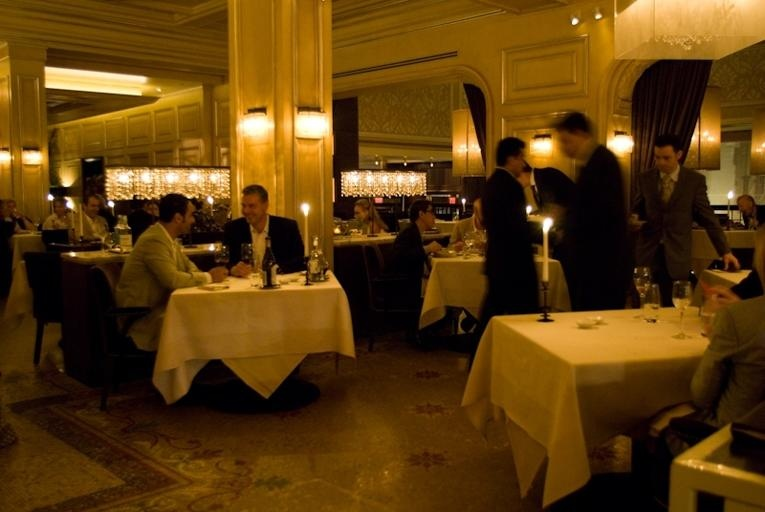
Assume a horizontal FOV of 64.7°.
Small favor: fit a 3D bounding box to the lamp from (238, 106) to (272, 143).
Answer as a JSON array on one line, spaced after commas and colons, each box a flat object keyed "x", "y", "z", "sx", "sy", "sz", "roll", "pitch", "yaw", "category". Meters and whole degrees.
[{"x": -1.333, "y": -1.435, "z": 6.518, "sx": 0.375, "sy": 0.340, "sz": 0.079, "roll": 5, "pitch": 11, "yaw": 28, "category": "lamp"}]

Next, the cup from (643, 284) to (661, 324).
[{"x": 1.641, "y": 0.271, "z": 3.660, "sx": 0.092, "sy": 0.206, "sz": 0.087, "roll": -3, "pitch": -2, "yaw": 0, "category": "cup"}]

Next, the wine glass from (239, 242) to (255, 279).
[{"x": -1.109, "y": 0.016, "z": 5.006, "sx": 0.091, "sy": 0.287, "sz": 0.450, "roll": -3, "pitch": 10, "yaw": -13, "category": "wine glass"}]

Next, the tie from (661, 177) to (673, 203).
[{"x": 2.584, "y": -0.616, "z": 5.474, "sx": 0.047, "sy": 0.189, "sz": 0.130, "roll": 1, "pitch": 3, "yaw": -42, "category": "tie"}]

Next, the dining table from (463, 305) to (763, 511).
[{"x": 1.076, "y": 0.707, "z": 3.504, "sx": 1.300, "sy": 0.710, "sz": 1.150, "roll": -5, "pitch": 14, "yaw": -7, "category": "dining table"}]

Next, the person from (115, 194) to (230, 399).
[{"x": -1.719, "y": 0.213, "z": 4.818, "sx": 0.744, "sy": 1.382, "sz": 0.753, "roll": -5, "pitch": 11, "yaw": -27, "category": "person"}]

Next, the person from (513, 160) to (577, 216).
[{"x": 1.287, "y": -0.499, "z": 5.238, "sx": 0.598, "sy": 0.319, "sz": 0.867, "roll": 1, "pitch": -14, "yaw": 24, "category": "person"}]

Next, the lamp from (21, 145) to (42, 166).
[{"x": -6.600, "y": -1.927, "z": 11.481, "sx": 0.319, "sy": 0.328, "sz": 0.330, "roll": 1, "pitch": 5, "yaw": -12, "category": "lamp"}]

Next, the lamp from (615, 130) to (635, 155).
[{"x": 3.356, "y": -1.582, "z": 8.358, "sx": 0.226, "sy": 0.347, "sz": 0.101, "roll": -1, "pitch": 7, "yaw": -18, "category": "lamp"}]

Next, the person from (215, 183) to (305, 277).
[{"x": -1.073, "y": -0.048, "z": 5.444, "sx": 0.788, "sy": 1.151, "sz": 0.624, "roll": -4, "pitch": 6, "yaw": -5, "category": "person"}]

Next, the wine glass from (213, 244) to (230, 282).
[{"x": -1.288, "y": 0.052, "z": 4.897, "sx": 0.130, "sy": 0.336, "sz": 0.120, "roll": -7, "pitch": 24, "yaw": -31, "category": "wine glass"}]

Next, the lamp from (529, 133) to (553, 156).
[{"x": 2.266, "y": -1.604, "z": 8.654, "sx": 0.282, "sy": 0.288, "sz": 0.289, "roll": -5, "pitch": 12, "yaw": -35, "category": "lamp"}]

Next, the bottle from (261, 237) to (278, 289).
[{"x": -0.878, "y": 0.040, "z": 4.723, "sx": 0.123, "sy": 0.387, "sz": 0.233, "roll": -1, "pitch": 10, "yaw": -4, "category": "bottle"}]

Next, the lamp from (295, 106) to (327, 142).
[{"x": -0.739, "y": -1.471, "z": 6.653, "sx": 0.377, "sy": 0.306, "sz": 0.398, "roll": 5, "pitch": 14, "yaw": 22, "category": "lamp"}]

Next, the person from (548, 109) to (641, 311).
[{"x": 1.517, "y": -0.312, "z": 4.374, "sx": 0.531, "sy": 1.435, "sz": 0.366, "roll": 4, "pitch": 10, "yaw": 24, "category": "person"}]
